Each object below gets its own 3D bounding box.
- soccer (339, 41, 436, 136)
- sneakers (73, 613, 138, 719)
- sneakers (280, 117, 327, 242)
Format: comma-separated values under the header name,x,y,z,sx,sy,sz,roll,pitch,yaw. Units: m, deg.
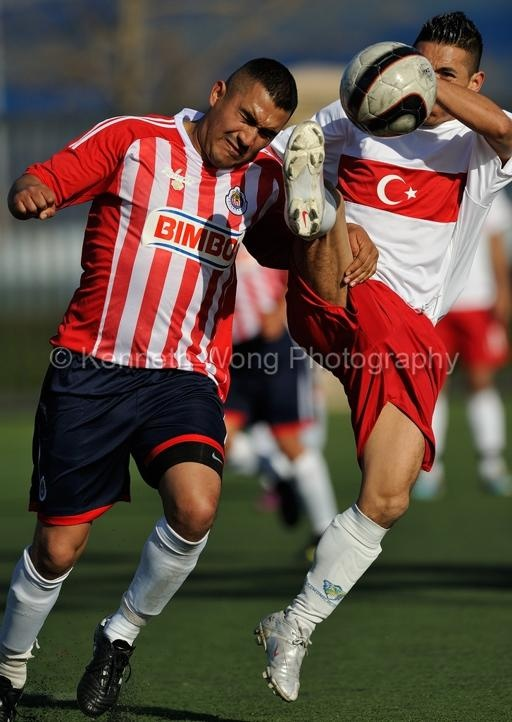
name,x,y,z,sx,sy,sz,roll,pitch,yaw
soccer,0.397,-0.868,2.578,0.294,0.307,0.132,-2,-4,32
sneakers,-0.465,0.969,2.639,0.117,0.128,0.292,30,32,-25
sneakers,0.139,-0.551,2.484,0.140,0.318,0.157,1,-5,-5
